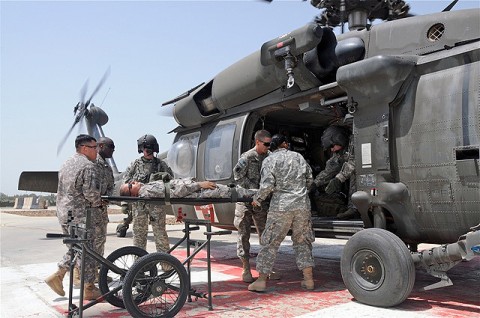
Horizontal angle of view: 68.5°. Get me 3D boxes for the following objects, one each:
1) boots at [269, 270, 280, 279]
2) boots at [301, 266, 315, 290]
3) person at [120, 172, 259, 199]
[{"bbox_3d":[0.628,2.163,6.543,0.187,0.120,0.316,0,-10,-14],"label":"boots"},{"bbox_3d":[1.104,1.992,5.940,0.201,0.375,0.412,0,-11,-11],"label":"boots"},{"bbox_3d":[-0.771,0.478,5.416,1.930,0.341,0.634,5,-4,-4],"label":"person"}]
